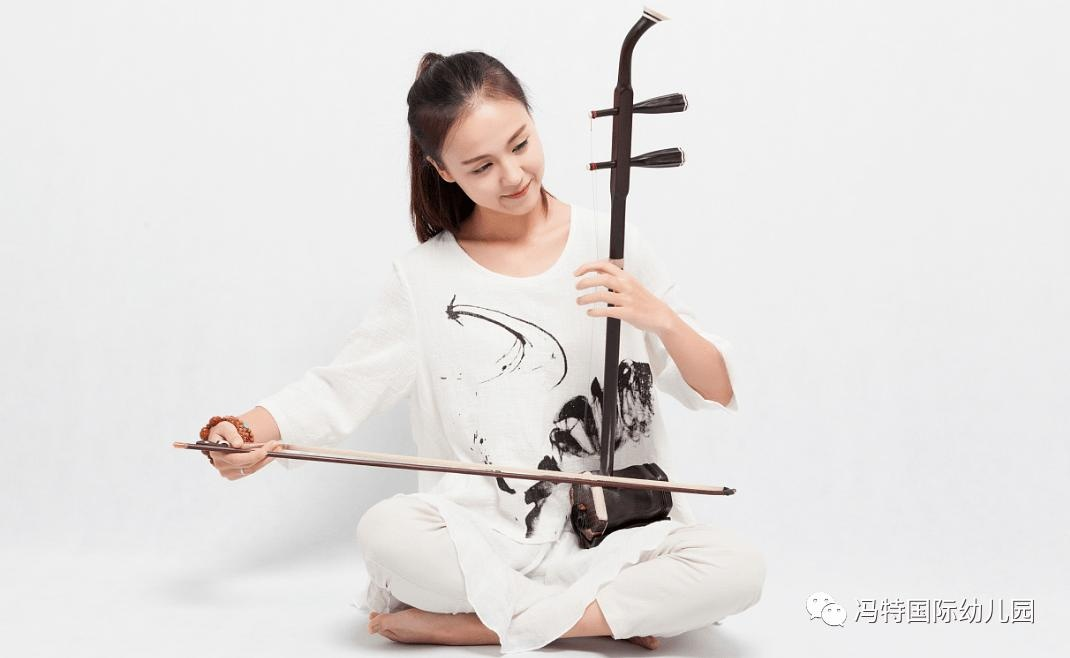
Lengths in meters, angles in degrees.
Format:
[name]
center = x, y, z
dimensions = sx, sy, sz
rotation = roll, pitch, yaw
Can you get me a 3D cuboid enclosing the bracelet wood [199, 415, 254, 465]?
[bracelet wood]
center = -1.046, 0.361, 3.530
dimensions = 0.147, 0.162, 0.054
rotation = 3, 6, -37
